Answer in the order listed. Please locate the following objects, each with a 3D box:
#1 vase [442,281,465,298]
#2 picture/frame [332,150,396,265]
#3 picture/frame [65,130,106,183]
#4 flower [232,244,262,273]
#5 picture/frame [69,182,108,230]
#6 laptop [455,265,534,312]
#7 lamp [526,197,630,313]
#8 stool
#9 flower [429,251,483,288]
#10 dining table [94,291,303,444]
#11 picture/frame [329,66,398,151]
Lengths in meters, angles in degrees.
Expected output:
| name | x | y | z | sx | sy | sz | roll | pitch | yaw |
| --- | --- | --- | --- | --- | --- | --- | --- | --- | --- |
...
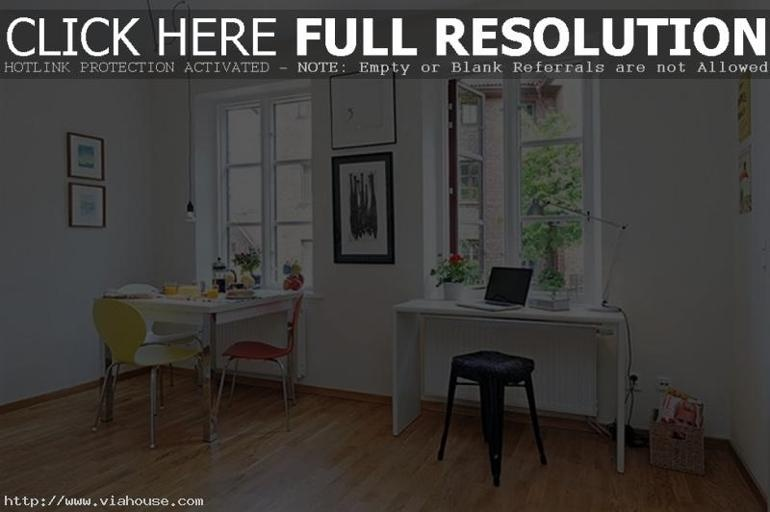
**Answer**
| name | x | y | z | sx | sy | sz | roll | pitch | yaw |
| --- | --- | --- | --- | --- | --- | --- | --- | --- | --- |
| vase | 0.609 | 0.290 | 5.083 | 0.135 | 0.113 | 0.139 | 0 | -2 | -3 |
| picture/frame | -0.202 | -0.448 | 5.418 | 0.604 | 1.003 | 0.115 | 0 | 6 | 19 |
| picture/frame | -2.914 | -0.968 | 5.626 | 0.048 | 0.671 | 0.521 | -2 | -2 | 32 |
| flower | -1.388 | 0.038 | 5.827 | 0.303 | 0.280 | 0.282 | 6 | 0 | -9 |
| picture/frame | -2.892 | -0.493 | 5.636 | 0.038 | 0.590 | 0.462 | -1 | 0 | 36 |
| laptop | 0.942 | 0.268 | 4.791 | 0.408 | 0.286 | 0.436 | 1 | -2 | -39 |
| lamp | 1.682 | -0.070 | 5.033 | 0.277 | 0.914 | 0.735 | -7 | 7 | -37 |
| stool | 0.906 | 1.186 | 4.775 | 0.854 | 1.052 | 0.879 | 0 | -2 | 40 |
| flower | 0.633 | 0.122 | 5.256 | 0.353 | 0.264 | 0.327 | 2 | -4 | -15 |
| dining table | -2.010 | 0.892 | 5.021 | 0.842 | 1.251 | 0.845 | 6 | 10 | 40 |
| picture/frame | -0.175 | -1.379 | 5.399 | 0.750 | 0.789 | 0.075 | 1 | 4 | 24 |
